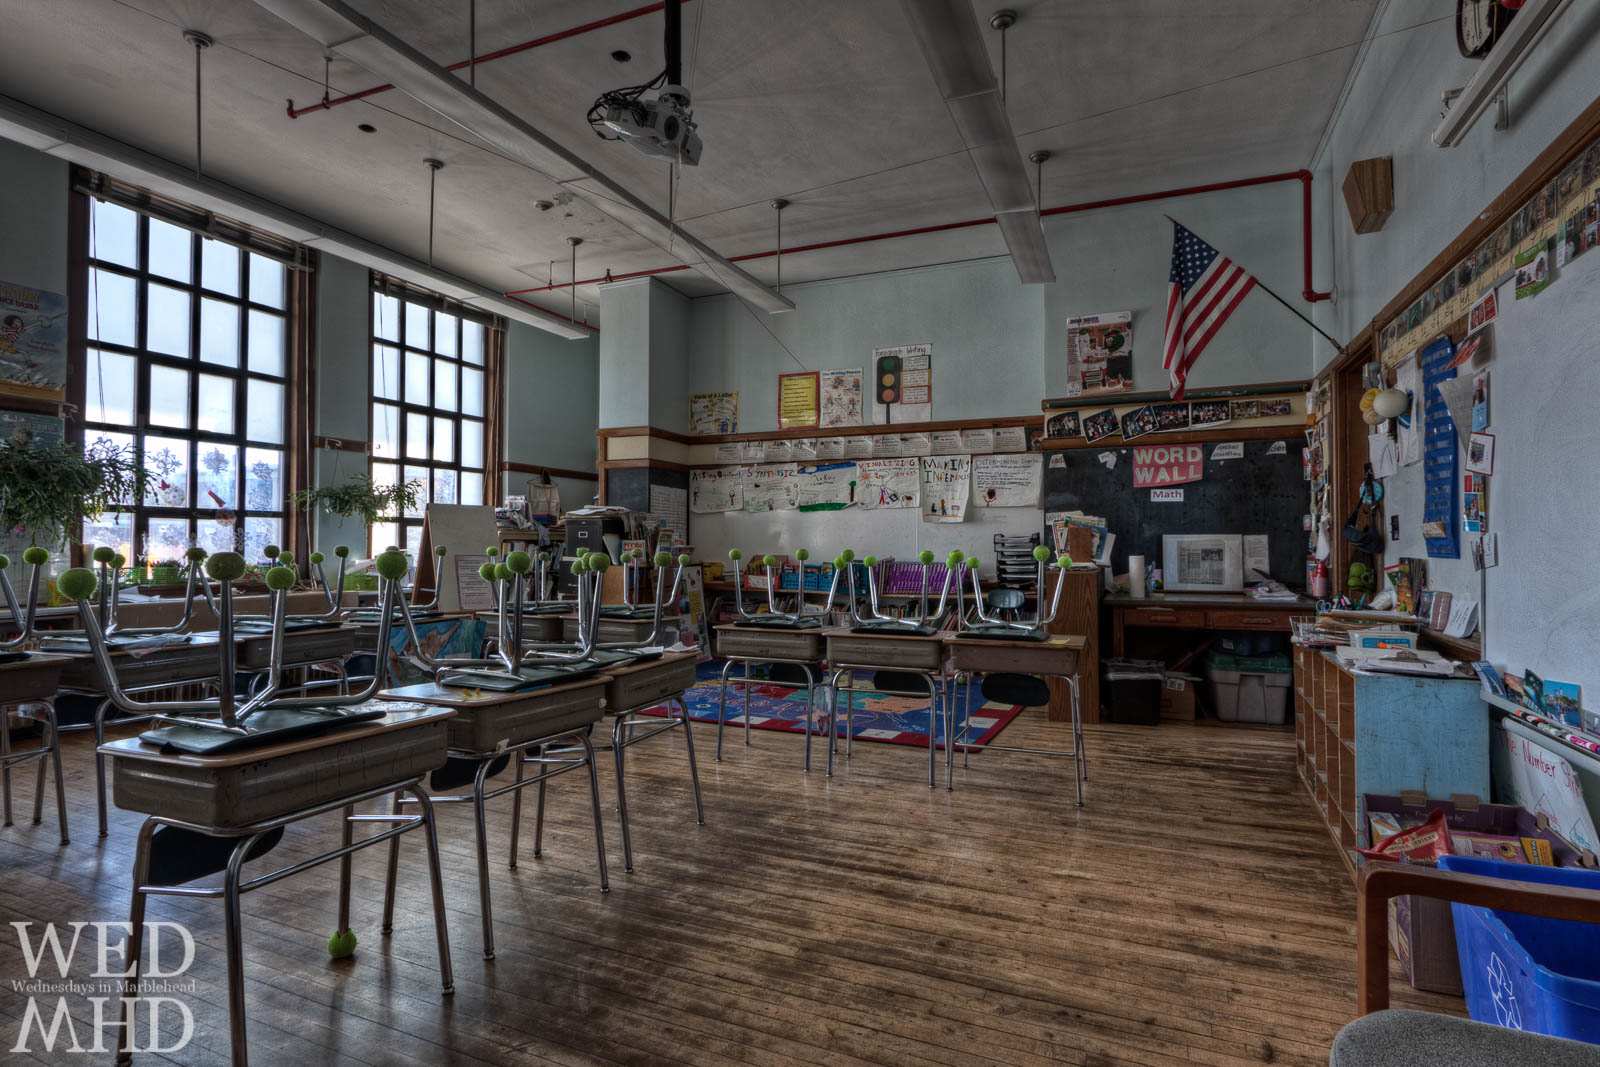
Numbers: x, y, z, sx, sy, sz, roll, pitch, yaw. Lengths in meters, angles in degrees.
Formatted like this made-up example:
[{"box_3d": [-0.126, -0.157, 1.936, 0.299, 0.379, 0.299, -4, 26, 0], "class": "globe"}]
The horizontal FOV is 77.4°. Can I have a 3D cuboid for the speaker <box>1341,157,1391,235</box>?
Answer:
[{"box_3d": [3.516, -2.100, 6.151, 0.224, 0.319, 0.397, -3, 0, 21], "class": "speaker"}]

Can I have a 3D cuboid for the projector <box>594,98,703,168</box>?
[{"box_3d": [-0.903, -2.365, 5.870, 0.355, 0.254, 0.551, 2, -4, 41], "class": "projector"}]

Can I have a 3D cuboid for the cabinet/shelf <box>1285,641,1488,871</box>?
[{"box_3d": [2.936, 1.118, 4.945, 0.370, 0.710, 1.181, 0, -4, 18], "class": "cabinet/shelf"}]
